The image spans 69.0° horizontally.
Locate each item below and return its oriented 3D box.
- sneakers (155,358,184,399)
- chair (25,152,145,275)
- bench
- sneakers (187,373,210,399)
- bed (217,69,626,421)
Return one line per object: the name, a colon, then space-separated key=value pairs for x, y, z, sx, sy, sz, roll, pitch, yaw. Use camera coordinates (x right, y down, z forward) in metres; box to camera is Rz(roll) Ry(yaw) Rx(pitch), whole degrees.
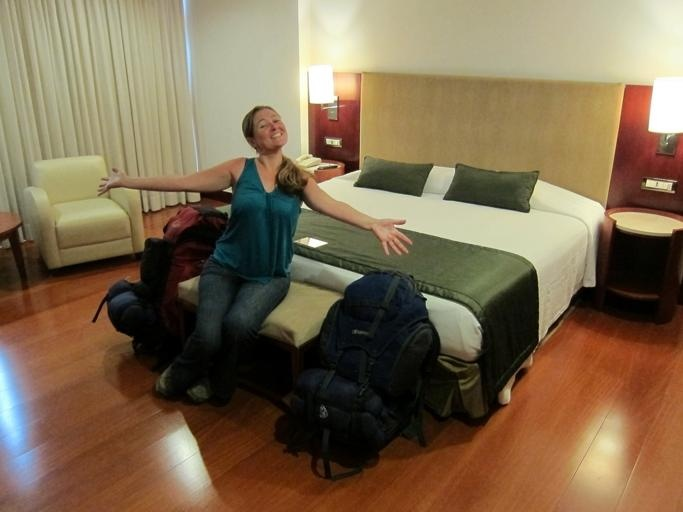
sneakers: x=-1.029 y=0.753 z=3.071 sx=0.165 sy=0.242 sz=0.071 roll=14 pitch=-5 yaw=32
chair: x=-2.424 y=-0.433 z=4.911 sx=1.063 sy=1.170 sz=1.115 roll=-15 pitch=29 yaw=-36
bench: x=-0.457 y=0.299 z=3.010 sx=1.039 sy=0.763 sz=0.727 roll=11 pitch=22 yaw=27
sneakers: x=-0.859 y=0.785 z=2.981 sx=0.097 sy=0.045 sz=0.131 roll=19 pitch=30 yaw=30
bed: x=1.726 y=-0.428 z=5.447 sx=2.680 sy=2.139 sz=2.554 roll=17 pitch=32 yaw=34
